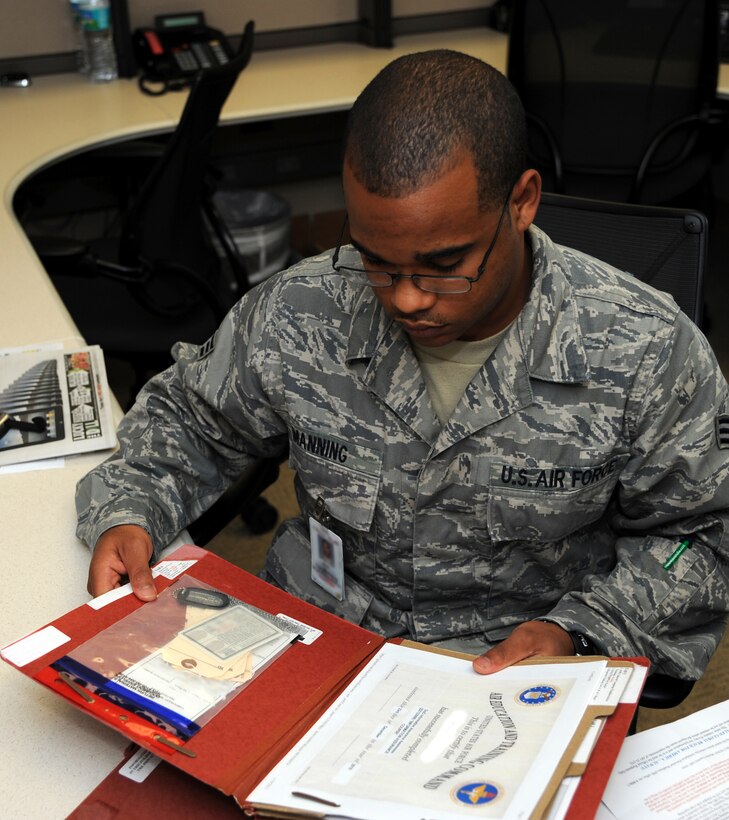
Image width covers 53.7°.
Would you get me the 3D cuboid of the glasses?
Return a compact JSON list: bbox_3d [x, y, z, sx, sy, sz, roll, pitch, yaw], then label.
[{"bbox_3d":[0.076,-0.160,0.741,0.161,0.089,0.071,-8,11,11],"label":"glasses"}]
